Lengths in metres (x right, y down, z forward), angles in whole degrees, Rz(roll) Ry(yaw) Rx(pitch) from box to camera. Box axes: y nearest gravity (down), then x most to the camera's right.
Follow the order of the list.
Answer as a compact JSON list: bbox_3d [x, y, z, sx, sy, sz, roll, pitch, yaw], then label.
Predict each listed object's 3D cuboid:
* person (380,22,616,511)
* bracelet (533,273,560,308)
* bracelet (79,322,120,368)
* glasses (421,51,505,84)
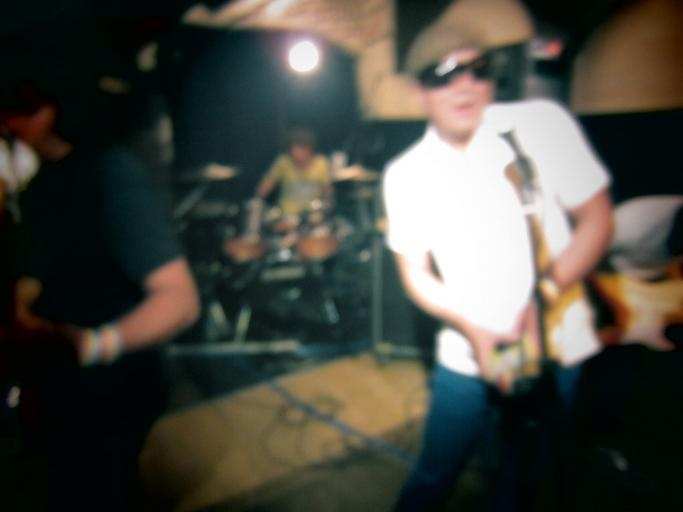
[{"bbox_3d":[0.534,0.056,2.581,0.936,1.661,1.070,12,35,21],"label":"person"},{"bbox_3d":[0.860,0.140,2.648,0.113,0.117,0.027,-15,-3,-25],"label":"bracelet"},{"bbox_3d":[-0.995,0.361,2.610,0.158,0.122,0.105,-3,15,24],"label":"bracelet"},{"bbox_3d":[0.490,-0.781,2.663,0.228,0.064,0.154,-12,-4,-18],"label":"glasses"}]
